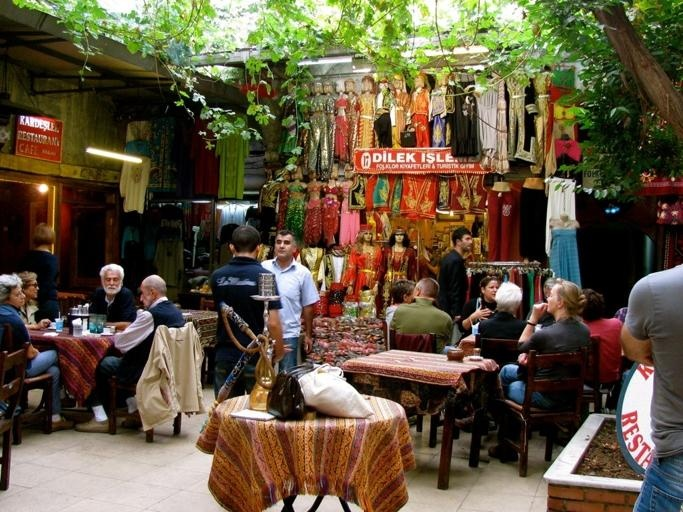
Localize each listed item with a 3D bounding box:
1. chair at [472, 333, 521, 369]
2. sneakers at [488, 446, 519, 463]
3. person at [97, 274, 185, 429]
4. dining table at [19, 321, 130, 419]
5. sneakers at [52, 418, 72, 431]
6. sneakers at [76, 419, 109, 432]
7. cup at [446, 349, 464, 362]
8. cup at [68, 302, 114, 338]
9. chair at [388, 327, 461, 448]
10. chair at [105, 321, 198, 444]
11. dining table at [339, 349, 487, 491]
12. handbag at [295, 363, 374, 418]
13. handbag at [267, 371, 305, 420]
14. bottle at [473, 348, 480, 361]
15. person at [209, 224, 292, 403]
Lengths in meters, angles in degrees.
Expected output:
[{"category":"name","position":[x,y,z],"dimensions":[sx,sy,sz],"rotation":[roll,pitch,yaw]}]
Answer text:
[{"category":"chair","position":[1.507,0.887,5.639],"dimensions":[0.338,0.460,0.341],"rotation":[1,6,17]},{"category":"sneakers","position":[1.562,1.926,5.652],"dimensions":[0.140,0.114,0.224],"rotation":[-2,-5,-40]},{"category":"person","position":[-2.171,1.068,6.325],"dimensions":[0.984,1.780,0.751],"rotation":[8,10,14]},{"category":"dining table","position":[-2.831,1.169,6.182],"dimensions":[0.815,0.645,0.748],"rotation":[-1,-11,19]},{"category":"sneakers","position":[-2.983,1.802,6.181],"dimensions":[0.194,0.084,0.075],"rotation":[3,-1,-41]},{"category":"sneakers","position":[-2.632,1.821,6.149],"dimensions":[0.334,0.145,0.135],"rotation":[3,-5,4]},{"category":"cup","position":[1.011,0.881,5.166],"dimensions":[0.112,0.070,0.113],"rotation":[0,-5,0]},{"category":"cup","position":[-2.843,0.732,6.495],"dimensions":[0.490,0.446,0.290],"rotation":[-1,-2,6]},{"category":"chair","position":[0.764,1.338,5.976],"dimensions":[0.957,0.945,0.973],"rotation":[0,-2,29]},{"category":"chair","position":[-1.856,1.327,6.527],"dimensions":[1.070,1.387,1.005],"rotation":[-1,-6,26]},{"category":"dining table","position":[0.676,1.254,5.038],"dimensions":[1.101,0.830,1.117],"rotation":[1,-1,36]},{"category":"handbag","position":[-0.027,0.786,3.386],"dimensions":[0.334,0.309,0.135],"rotation":[7,-40,-20]},{"category":"handbag","position":[-0.332,0.825,3.393],"dimensions":[0.217,0.267,0.068],"rotation":[2,3,16]},{"category":"bottle","position":[1.221,0.898,5.244],"dimensions":[0.084,0.091,0.086],"rotation":[-1,-2,17]},{"category":"person","position":[-0.740,0.451,4.500],"dimensions":[0.523,1.375,0.892],"rotation":[1,3,-13]}]
